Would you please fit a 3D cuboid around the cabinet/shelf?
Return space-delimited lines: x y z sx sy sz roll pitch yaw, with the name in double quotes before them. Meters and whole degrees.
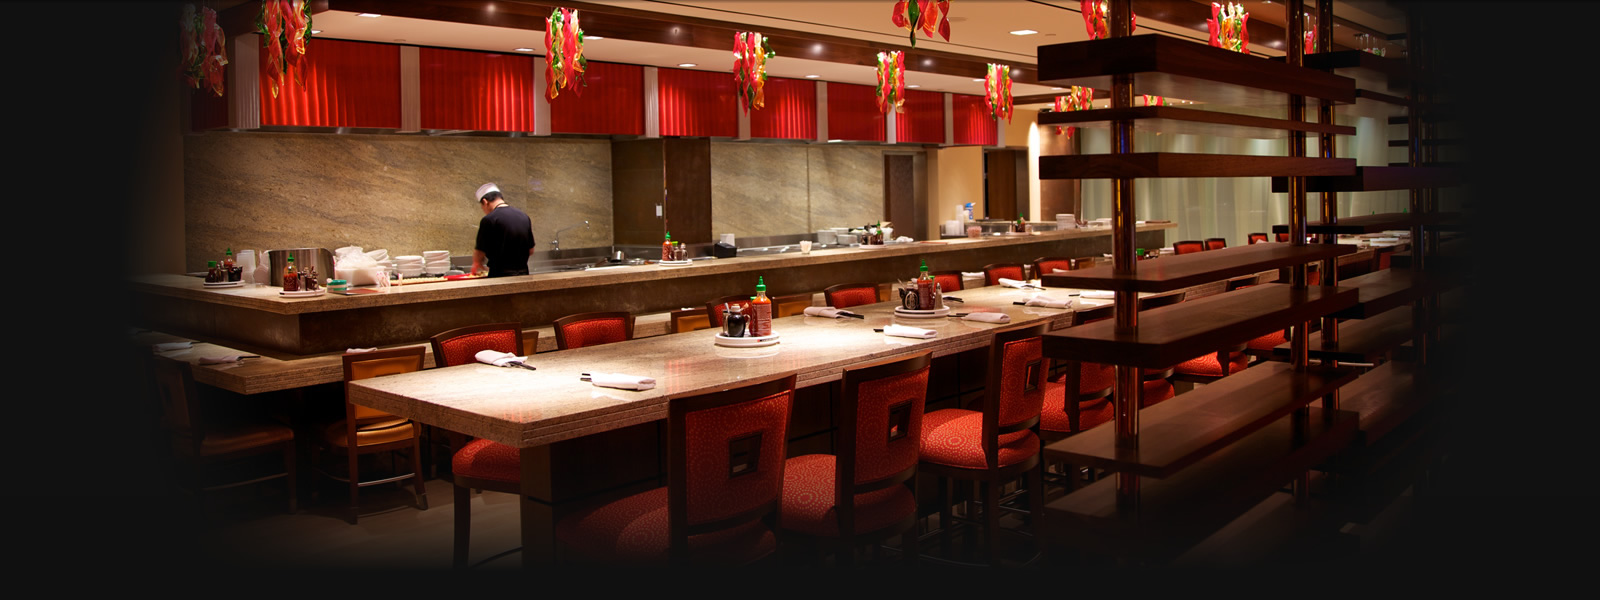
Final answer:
"cabinet/shelf" 3.340 -0.269 6.915 3.394 4.373 1.193 -8 9 -32

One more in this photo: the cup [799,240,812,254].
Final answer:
"cup" 0.044 -0.750 12.573 0.270 0.148 0.223 -1 -1 -4

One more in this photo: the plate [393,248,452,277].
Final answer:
"plate" -4.666 -0.444 10.737 0.647 0.204 0.456 0 1 43

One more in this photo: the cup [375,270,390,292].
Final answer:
"cup" -4.616 -0.215 9.744 0.260 0.207 0.086 -2 -2 0

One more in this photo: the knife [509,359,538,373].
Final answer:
"knife" -2.395 0.572 7.548 0.191 0.031 0.110 8 9 38
